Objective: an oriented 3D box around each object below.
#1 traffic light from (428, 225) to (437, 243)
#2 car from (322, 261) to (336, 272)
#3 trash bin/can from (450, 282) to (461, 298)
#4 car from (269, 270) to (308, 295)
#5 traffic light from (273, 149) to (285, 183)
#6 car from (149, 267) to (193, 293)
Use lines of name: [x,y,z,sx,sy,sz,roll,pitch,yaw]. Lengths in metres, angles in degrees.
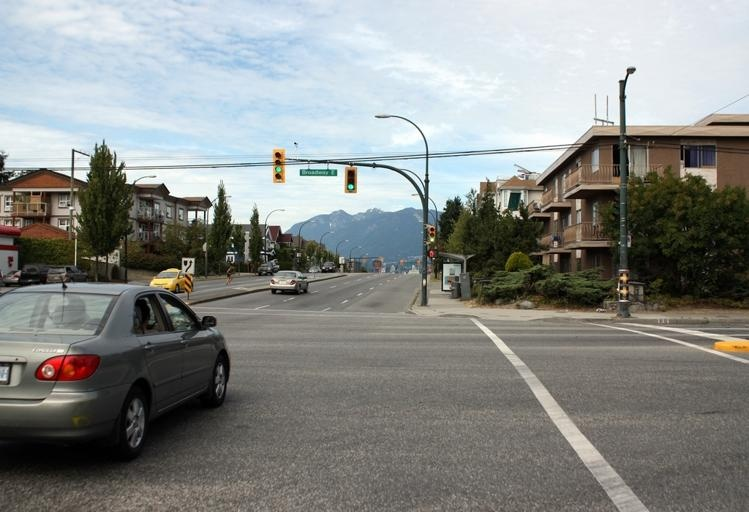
traffic light: [2.996,-1.185,33.319,0.428,0.942,1.006,0,1,2]
car: [-8.758,2.052,115.237,1.365,1.453,3.184,-1,-6,5]
trash bin/can: [5.215,2.136,39.848,0.808,1.123,0.761,0,-1,4]
car: [-5.990,1.812,43.494,2.031,1.589,3.368,0,1,7]
traffic light: [-4.237,-3.977,27.481,0.455,1.363,0.390,-1,2,-18]
car: [-11.703,1.357,35.972,1.332,1.076,2.307,-2,-9,2]
